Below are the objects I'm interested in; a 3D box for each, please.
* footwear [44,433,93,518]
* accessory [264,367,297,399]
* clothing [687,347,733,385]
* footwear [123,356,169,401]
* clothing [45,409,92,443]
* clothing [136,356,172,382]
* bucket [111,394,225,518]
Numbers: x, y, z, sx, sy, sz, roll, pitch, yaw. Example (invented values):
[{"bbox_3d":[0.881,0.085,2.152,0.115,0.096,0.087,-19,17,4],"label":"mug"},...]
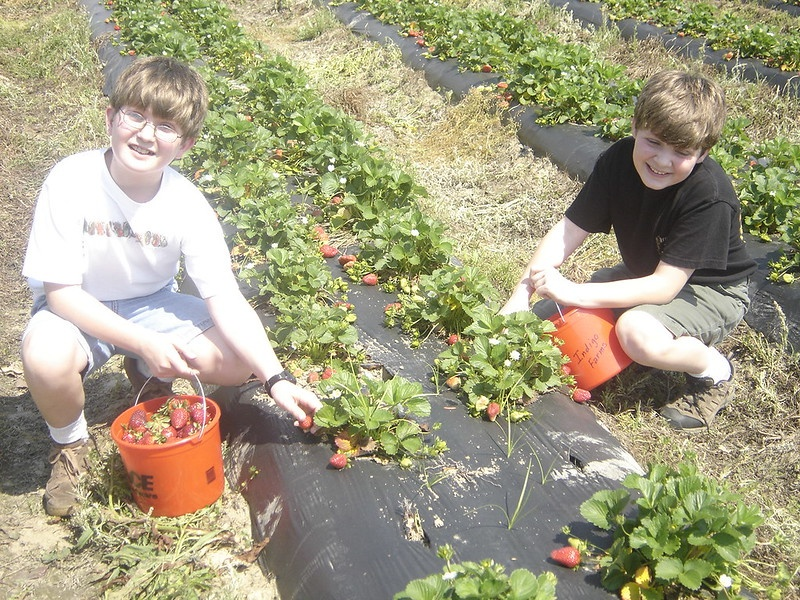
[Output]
[{"bbox_3d":[-1.841,0.981,3.625,0.178,0.519,0.216,1,-13,-2],"label":"footwear"},{"bbox_3d":[-0.659,0.460,3.567,0.194,0.196,0.111,-25,62,-28],"label":"accessory"},{"bbox_3d":[1.988,0.418,4.172,0.278,0.167,0.143,50,31,12],"label":"clothing"},{"bbox_3d":[-1.476,0.454,3.810,0.305,0.291,0.169,4,-13,45],"label":"footwear"},{"bbox_3d":[-1.836,0.689,3.590,0.174,0.140,0.181,-4,4,-5],"label":"clothing"},{"bbox_3d":[-1.451,0.391,3.855,0.179,0.136,0.186,-10,55,-29],"label":"clothing"},{"bbox_3d":[-1.228,0.872,3.531,0.534,0.489,0.539,-4,9,1],"label":"bucket"}]
